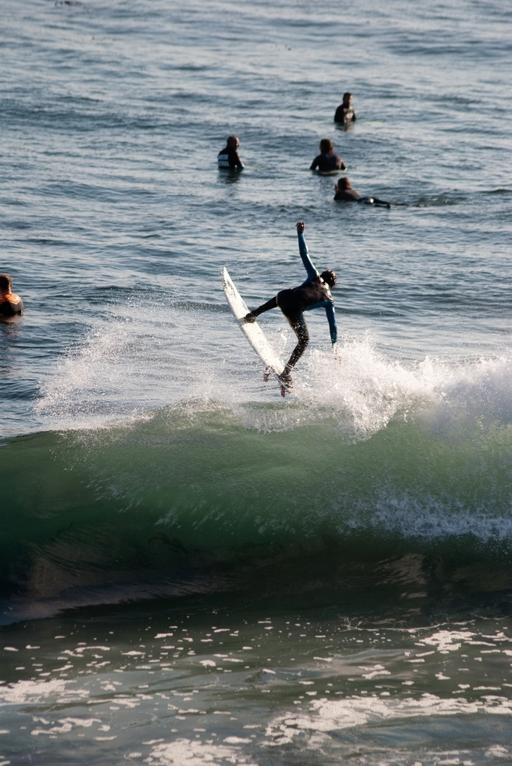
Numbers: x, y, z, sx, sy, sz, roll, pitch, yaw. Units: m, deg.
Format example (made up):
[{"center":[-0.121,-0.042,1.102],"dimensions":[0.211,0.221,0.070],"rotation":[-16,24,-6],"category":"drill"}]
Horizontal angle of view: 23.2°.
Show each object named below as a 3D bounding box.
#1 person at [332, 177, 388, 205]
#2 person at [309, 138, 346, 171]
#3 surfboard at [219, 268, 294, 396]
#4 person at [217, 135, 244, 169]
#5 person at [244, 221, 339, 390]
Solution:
[{"center":[1.879,-3.327,21.955],"dimensions":[1.026,0.434,0.431],"rotation":[14,34,-1],"category":"person"},{"center":[1.303,-4.392,24.039],"dimensions":[0.560,0.748,0.918],"rotation":[5,22,15],"category":"person"},{"center":[-0.025,-0.573,15.503],"dimensions":[0.303,1.936,0.283],"rotation":[-18,-17,-36],"category":"surfboard"},{"center":[-0.537,-4.458,24.148],"dimensions":[0.481,0.700,0.553],"rotation":[-2,22,-1],"category":"person"},{"center":[0.400,-0.892,14.123],"dimensions":[0.963,2.034,1.081],"rotation":[-1,23,2],"category":"person"}]
